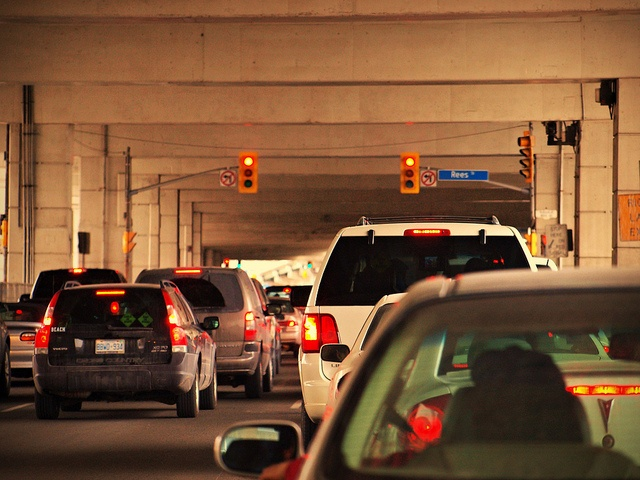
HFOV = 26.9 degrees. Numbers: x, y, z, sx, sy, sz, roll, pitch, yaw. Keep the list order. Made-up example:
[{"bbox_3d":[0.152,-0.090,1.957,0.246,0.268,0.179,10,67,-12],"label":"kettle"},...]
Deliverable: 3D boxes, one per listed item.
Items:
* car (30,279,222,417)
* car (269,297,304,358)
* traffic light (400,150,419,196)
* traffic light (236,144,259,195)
[{"bbox_3d":[-3.243,1.695,21.505,1.766,1.312,2.827,0,0,3],"label":"car"},{"bbox_3d":[-1.236,2.333,38.049,1.238,1.524,3.241,-2,2,-6],"label":"car"},{"bbox_3d":[2.830,-2.158,41.833,0.548,1.213,0.796,-3,-1,3],"label":"traffic light"},{"bbox_3d":[-2.172,-2.100,40.733,0.568,1.342,0.315,-2,29,-6],"label":"traffic light"}]
